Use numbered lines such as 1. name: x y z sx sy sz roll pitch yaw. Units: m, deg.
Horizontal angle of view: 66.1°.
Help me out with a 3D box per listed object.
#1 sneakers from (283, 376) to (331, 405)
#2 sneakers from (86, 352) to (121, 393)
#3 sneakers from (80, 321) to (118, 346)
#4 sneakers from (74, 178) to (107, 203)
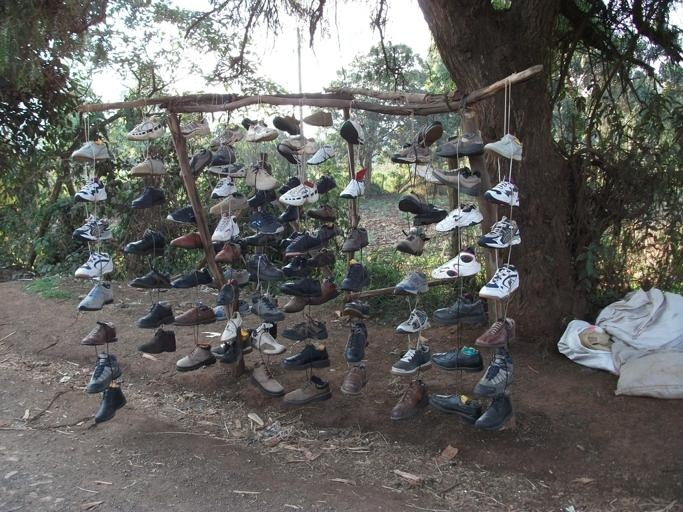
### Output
1. sneakers: -0.365 1.346 5.454 0.493 0.252 0.226 -2 7 -20
2. sneakers: -2.420 1.146 5.311 0.178 0.307 0.516 -1 9 3
3. sneakers: -2.484 0.800 5.459 0.181 0.247 0.489 0 -5 20
4. sneakers: -2.592 -0.661 5.441 0.254 0.252 0.369 -12 14 -14
